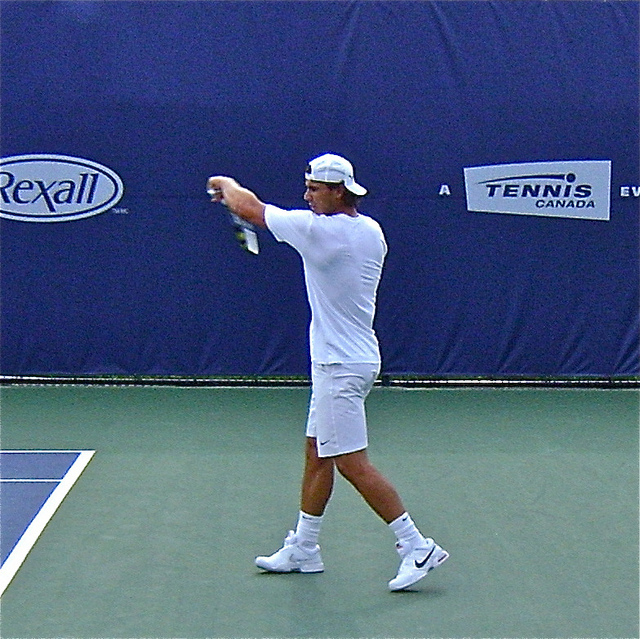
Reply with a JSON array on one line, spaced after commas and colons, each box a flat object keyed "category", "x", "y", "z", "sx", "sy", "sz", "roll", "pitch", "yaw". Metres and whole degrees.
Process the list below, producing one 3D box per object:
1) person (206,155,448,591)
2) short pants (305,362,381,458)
[{"category": "person", "x": 0.084, "y": 0.244, "z": 4.724, "sx": 1.126, "sy": 2.087, "sz": 0.514, "roll": 1, "pitch": 10, "yaw": 6}, {"category": "short pants", "x": 0.138, "y": 0.397, "z": 4.911, "sx": 0.401, "sy": 0.632, "sz": 0.670, "roll": 2, "pitch": -8, "yaw": 1}]
